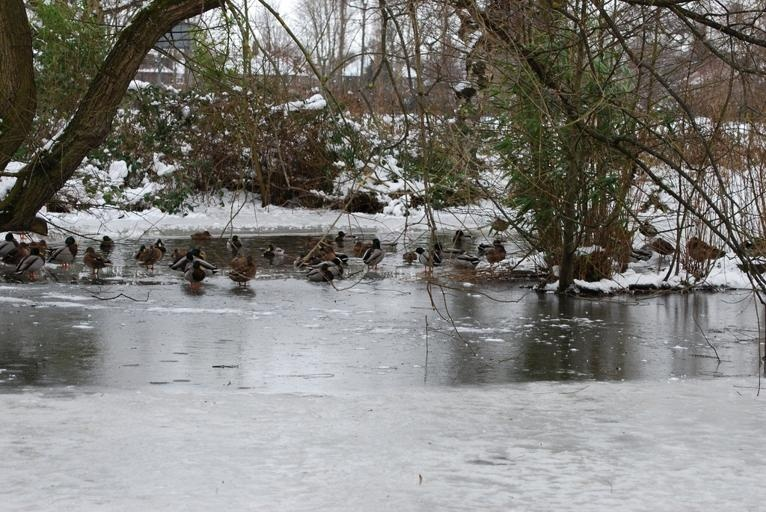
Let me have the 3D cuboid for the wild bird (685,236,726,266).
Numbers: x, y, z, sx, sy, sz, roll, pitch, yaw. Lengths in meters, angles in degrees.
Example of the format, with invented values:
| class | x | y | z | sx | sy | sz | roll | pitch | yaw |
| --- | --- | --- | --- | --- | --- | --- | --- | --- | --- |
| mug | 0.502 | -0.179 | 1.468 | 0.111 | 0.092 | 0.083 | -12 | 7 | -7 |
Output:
| class | x | y | z | sx | sy | sz | roll | pitch | yaw |
| --- | --- | --- | --- | --- | --- | --- | --- | --- | --- |
| wild bird | 6.739 | -0.060 | 22.308 | 0.819 | 0.538 | 0.496 | -3 | 32 | -15 |

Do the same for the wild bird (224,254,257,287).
| class | x | y | z | sx | sy | sz | roll | pitch | yaw |
| --- | --- | --- | --- | --- | --- | --- | --- | --- | --- |
| wild bird | -3.135 | 0.383 | 23.122 | 0.544 | 0.737 | 0.973 | -5 | 12 | -42 |

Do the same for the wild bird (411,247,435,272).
| class | x | y | z | sx | sy | sz | roll | pitch | yaw |
| --- | --- | --- | --- | --- | --- | --- | --- | --- | --- |
| wild bird | 0.906 | 0.059 | 23.857 | 0.333 | 0.594 | 0.981 | -2 | 7 | -32 |

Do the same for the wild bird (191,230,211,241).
| class | x | y | z | sx | sy | sz | roll | pitch | yaw |
| --- | --- | --- | --- | --- | --- | --- | --- | --- | --- |
| wild bird | -5.704 | -0.560 | 32.516 | 0.673 | 0.296 | 0.357 | -1 | 7 | 43 |

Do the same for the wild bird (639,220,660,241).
| class | x | y | z | sx | sy | sz | roll | pitch | yaw |
| --- | --- | --- | --- | --- | --- | --- | --- | --- | --- |
| wild bird | 5.671 | -0.520 | 22.633 | 0.590 | 0.318 | 0.769 | 23 | 7 | 17 |

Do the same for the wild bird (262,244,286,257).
| class | x | y | z | sx | sy | sz | roll | pitch | yaw |
| --- | --- | --- | --- | --- | --- | --- | --- | --- | --- |
| wild bird | -2.986 | -0.130 | 29.121 | 0.576 | 0.316 | 0.847 | 4 | 13 | 12 |
